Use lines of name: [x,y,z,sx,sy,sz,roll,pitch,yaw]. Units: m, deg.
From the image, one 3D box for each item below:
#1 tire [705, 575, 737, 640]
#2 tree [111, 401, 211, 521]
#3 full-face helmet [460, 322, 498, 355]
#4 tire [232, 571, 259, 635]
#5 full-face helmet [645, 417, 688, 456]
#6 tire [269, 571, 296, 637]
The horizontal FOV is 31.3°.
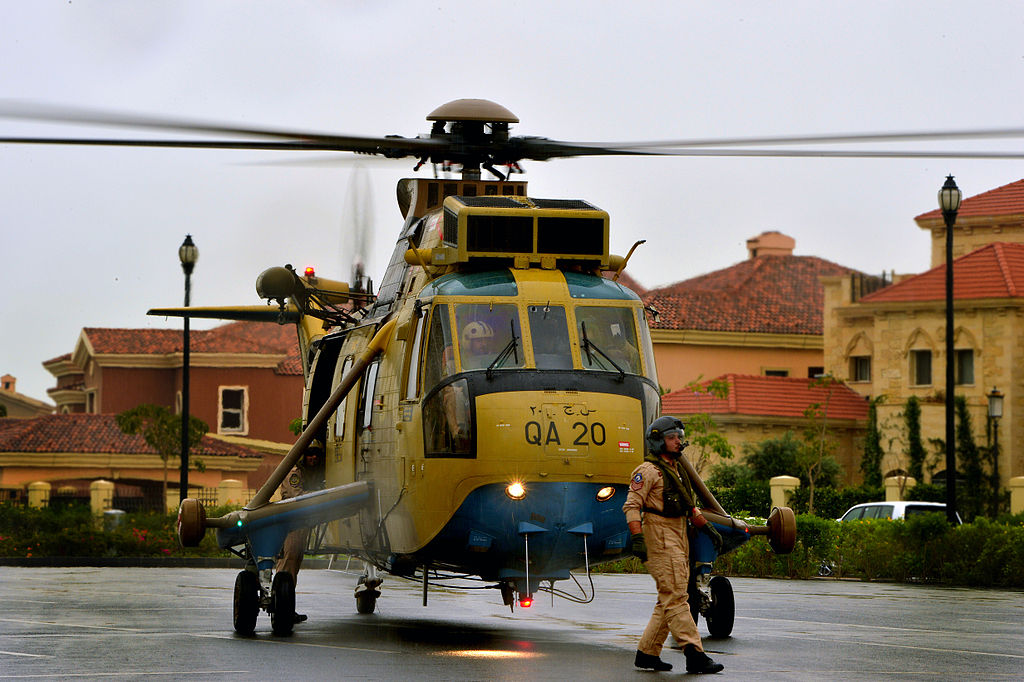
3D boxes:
tire: [3.747,4.846,32.965,0.403,1.177,1.147,-2,1,-11]
tree: [-12.984,4.577,67.762,3.911,5.153,4.207,-2,-5,24]
full-face helmet: [-0.547,-0.040,31.385,0.405,0.527,0.549,2,-5,-35]
tire: [-4.775,4.791,33.169,0.390,1.069,1.045,1,-5,-6]
full-face helmet: [2.534,1.585,30.248,0.631,0.632,0.590,-14,-9,34]
tire: [-4.121,4.780,33.065,0.421,1.242,1.067,0,-3,-9]
